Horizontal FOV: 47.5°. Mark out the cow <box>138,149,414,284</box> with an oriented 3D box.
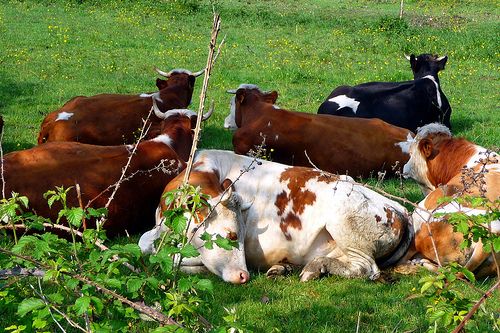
[{"bbox_3d":[0.716,0.849,8.477,2.700,1.206,2.273,5,5,12],"label":"cow"}]
